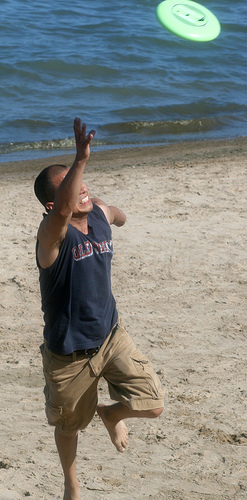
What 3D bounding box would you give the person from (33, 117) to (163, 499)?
[{"bbox_3d":[-0.175,0.390,3.582,0.633,2.285,0.615,-12,24,-30],"label":"person"}]
